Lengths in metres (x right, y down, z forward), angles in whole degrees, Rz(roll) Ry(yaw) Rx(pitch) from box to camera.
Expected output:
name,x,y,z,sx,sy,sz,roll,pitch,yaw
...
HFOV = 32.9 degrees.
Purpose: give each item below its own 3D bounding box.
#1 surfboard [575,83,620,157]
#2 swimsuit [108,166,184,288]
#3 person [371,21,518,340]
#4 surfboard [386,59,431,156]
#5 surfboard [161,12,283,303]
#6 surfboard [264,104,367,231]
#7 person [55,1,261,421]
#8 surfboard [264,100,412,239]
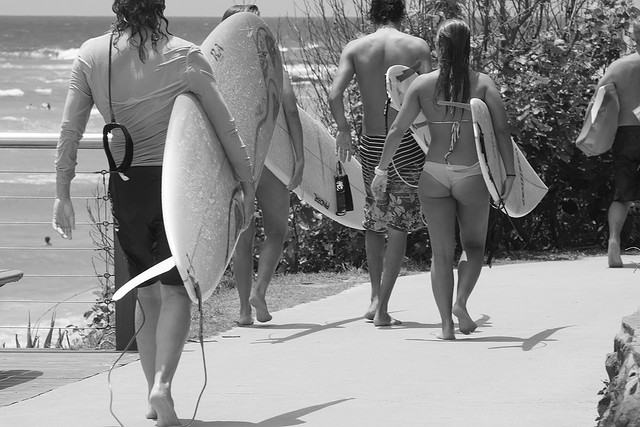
name,x,y,z,sx,sy,sz,roll,pitch,yaw
surfboard,2.803,-0.925,10.737,0.396,0.686,0.171,21,20,-19
swimsuit,-1.224,0.064,7.305,0.501,0.765,0.141,1,8,24
person,1.014,-0.265,8.688,1.073,2.521,0.413,-1,7,9
surfboard,0.742,-0.888,9.138,0.177,0.663,0.722,-9,14,26
surfboard,-0.703,-0.523,7.713,0.309,2.115,0.693,-3,-34,48
surfboard,-0.055,-0.364,9.821,0.288,0.385,1.499,-3,-23,41
person,-1.115,-0.028,7.347,1.343,2.807,0.808,-4,7,-13
surfboard,0.163,-0.360,9.611,0.148,0.378,1.648,1,-19,39
